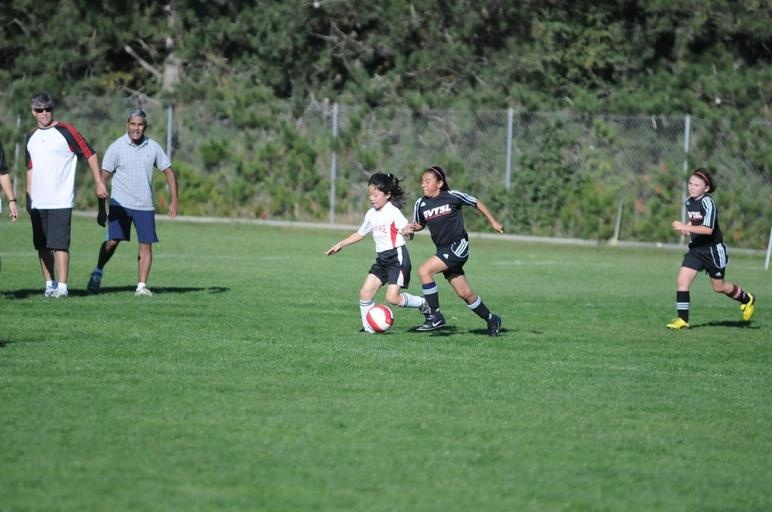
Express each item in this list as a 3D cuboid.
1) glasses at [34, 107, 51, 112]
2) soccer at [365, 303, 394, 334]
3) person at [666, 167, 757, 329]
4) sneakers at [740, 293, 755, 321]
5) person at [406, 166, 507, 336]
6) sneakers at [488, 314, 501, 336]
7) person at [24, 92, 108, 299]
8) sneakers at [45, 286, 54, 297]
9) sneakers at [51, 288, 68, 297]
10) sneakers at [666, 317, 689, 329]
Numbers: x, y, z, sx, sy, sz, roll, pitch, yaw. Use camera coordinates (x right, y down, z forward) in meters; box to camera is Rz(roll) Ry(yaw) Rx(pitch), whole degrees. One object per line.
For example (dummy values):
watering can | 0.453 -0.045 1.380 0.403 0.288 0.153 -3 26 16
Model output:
glasses | -3.547 -1.513 11.107 0.164 0.060 0.091 -4 15 -25
soccer | -0.081 0.609 10.246 0.246 0.258 0.122 0 13 -11
person | 3.376 -0.048 11.170 0.888 1.643 1.485 7 14 22
sneakers | 3.788 0.544 11.271 0.164 0.387 0.137 1 1 -11
person | 0.663 -0.040 10.435 0.915 1.554 0.544 6 13 17
sneakers | 1.026 0.658 10.297 0.088 0.247 0.109 4 6 37
person | -3.406 -0.621 11.189 0.786 2.082 0.681 1 12 -4
sneakers | -3.483 0.365 11.117 0.098 0.101 0.245 -2 14 -18
sneakers | -3.370 0.380 11.096 0.059 0.071 0.154 -3 -13 18
sneakers | 2.972 0.684 10.904 0.256 0.112 0.094 2 -2 -9
